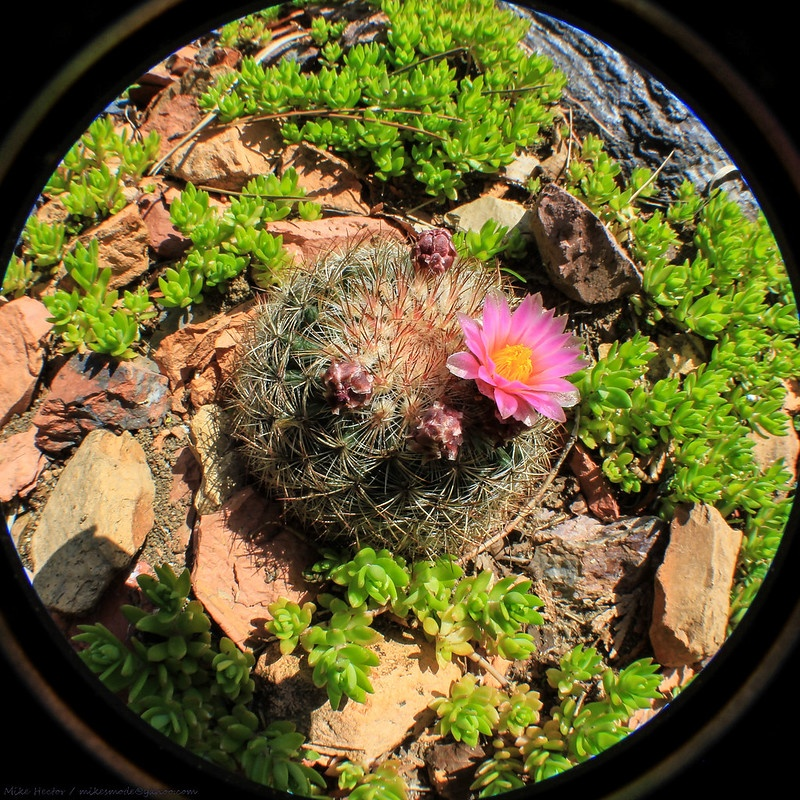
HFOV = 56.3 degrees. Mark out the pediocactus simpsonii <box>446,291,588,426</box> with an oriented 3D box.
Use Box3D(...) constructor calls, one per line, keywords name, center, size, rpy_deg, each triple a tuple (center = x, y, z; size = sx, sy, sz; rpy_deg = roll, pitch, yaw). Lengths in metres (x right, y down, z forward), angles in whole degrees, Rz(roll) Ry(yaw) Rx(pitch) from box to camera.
Box3D(name="pediocactus simpsonii", center=(0.296, -0.108, 2.541), size=(0.502, 0.251, 0.417), rpy_deg=(-14, 80, -30))
